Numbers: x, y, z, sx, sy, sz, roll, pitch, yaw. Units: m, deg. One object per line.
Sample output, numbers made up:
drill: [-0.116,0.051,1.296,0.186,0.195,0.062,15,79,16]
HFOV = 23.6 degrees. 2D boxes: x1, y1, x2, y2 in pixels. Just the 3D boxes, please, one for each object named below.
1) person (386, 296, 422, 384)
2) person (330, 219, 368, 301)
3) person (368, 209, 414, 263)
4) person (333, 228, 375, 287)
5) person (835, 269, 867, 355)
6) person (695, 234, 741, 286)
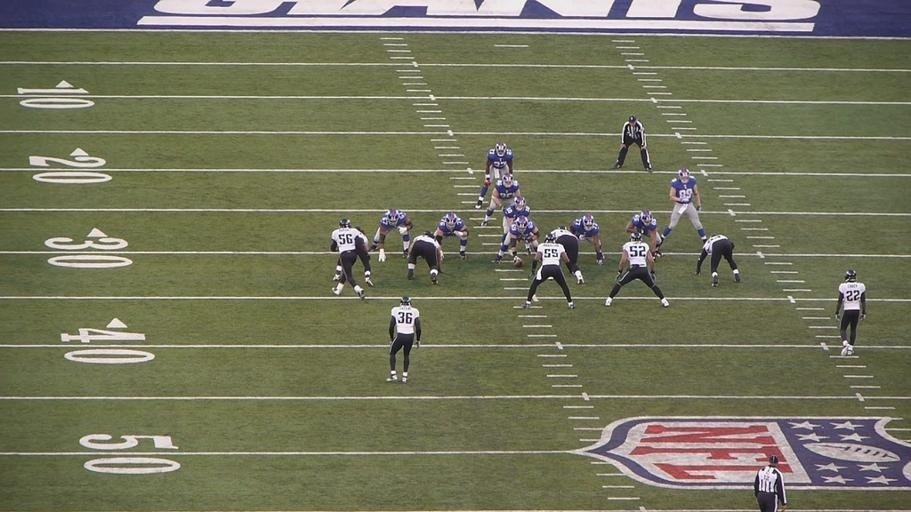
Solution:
person: [-1.353,2.107,56.641,0.837,2.332,1.264,3,15,-2]
person: [-2.926,0.001,59.408,1.160,2.013,1.201,-1,0,-42]
person: [-1.520,-0.642,60.377,1.191,1.501,1.237,4,1,-6]
person: [-2.998,-0.075,59.329,1.134,1.595,1.155,-1,1,-14]
person: [10.550,1.447,57.576,0.757,2.284,1.006,6,16,8]
person: [7.319,0.040,59.798,1.158,1.433,1.447,2,2,16]
